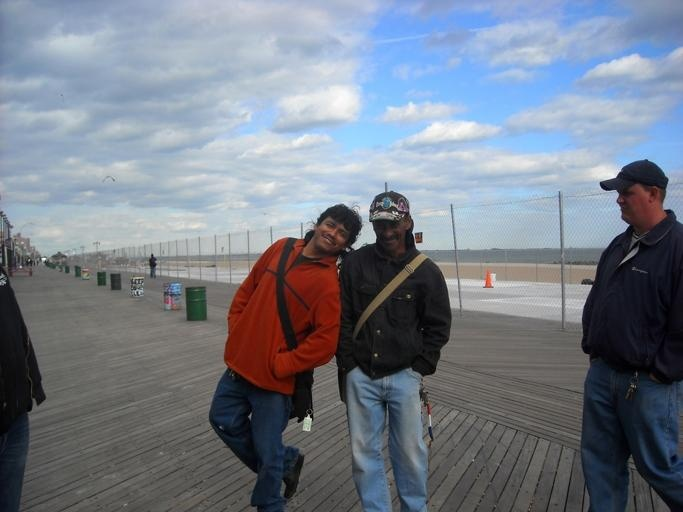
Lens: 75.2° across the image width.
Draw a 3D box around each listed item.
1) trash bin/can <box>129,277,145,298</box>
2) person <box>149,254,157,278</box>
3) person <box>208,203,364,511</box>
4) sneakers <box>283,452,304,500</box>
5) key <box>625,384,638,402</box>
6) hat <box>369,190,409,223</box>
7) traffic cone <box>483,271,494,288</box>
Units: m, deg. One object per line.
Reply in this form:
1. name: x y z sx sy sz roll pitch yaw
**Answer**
1. trash bin/can: -8.569 1.294 18.510 0.699 1.017 0.722 -1 -2 36
2. person: -14.399 0.749 33.846 0.396 1.615 1.746 -4 5 -27
3. person: -0.402 0.699 3.157 1.006 2.101 0.528 -1 5 13
4. sneakers: -0.359 1.658 3.434 0.155 0.422 0.138 4 12 -15
5. key: 1.917 0.884 2.917 0.061 0.120 0.015 1 5 29
6. hat: 0.330 -0.343 3.062 0.267 0.210 0.258 -1 5 8
7. traffic cone: 6.919 1.081 20.783 0.597 0.877 0.616 -4 0 -6
